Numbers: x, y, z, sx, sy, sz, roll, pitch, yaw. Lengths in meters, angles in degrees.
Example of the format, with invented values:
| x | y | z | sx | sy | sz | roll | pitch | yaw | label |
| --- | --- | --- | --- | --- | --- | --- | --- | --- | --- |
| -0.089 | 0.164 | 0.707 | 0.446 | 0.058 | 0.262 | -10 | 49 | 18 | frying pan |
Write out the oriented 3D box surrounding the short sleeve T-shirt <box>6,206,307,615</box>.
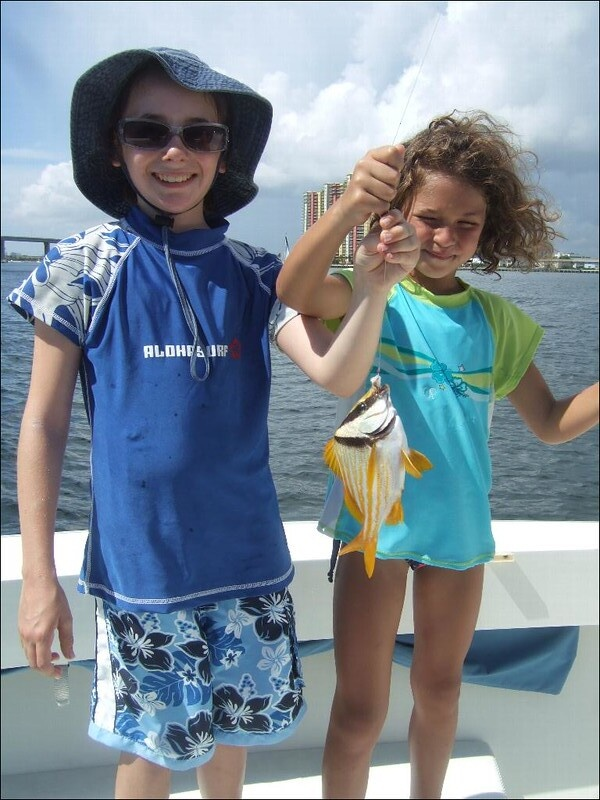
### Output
| x | y | z | sx | sy | sz | roll | pitch | yaw | label |
| --- | --- | --- | --- | --- | --- | --- | --- | --- | --- |
| -0.284 | 0.003 | 1.664 | 0.546 | 0.764 | 0.342 | 0 | 10 | -6 | short sleeve T-shirt |
